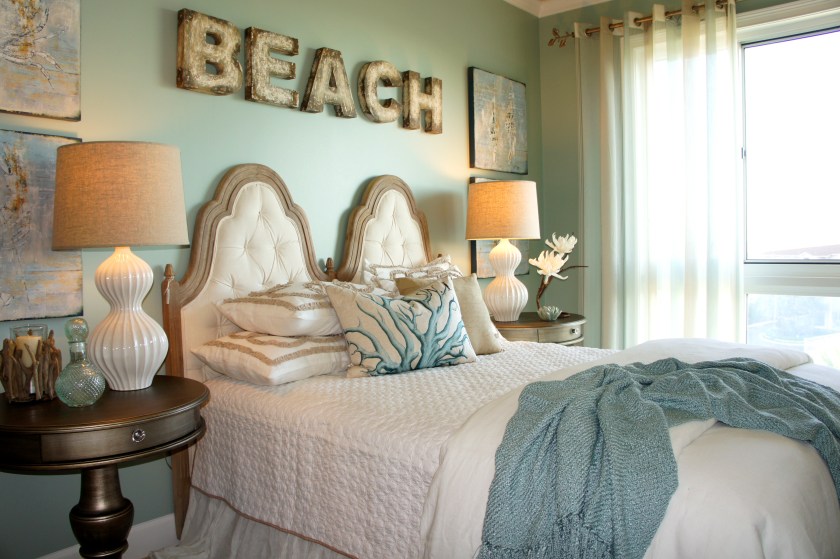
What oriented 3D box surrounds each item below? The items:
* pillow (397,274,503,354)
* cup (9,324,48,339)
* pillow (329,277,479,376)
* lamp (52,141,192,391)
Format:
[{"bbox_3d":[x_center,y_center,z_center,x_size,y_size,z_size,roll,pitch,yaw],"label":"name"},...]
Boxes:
[{"bbox_3d":[0.167,0.258,3.423,0.149,0.485,0.501,-32,-20,34],"label":"pillow"},{"bbox_3d":[-1.632,0.219,2.436,0.103,0.080,0.106,0,-4,0],"label":"cup"},{"bbox_3d":[-0.100,0.250,2.901,0.542,0.524,0.160,-6,-23,-35],"label":"pillow"},{"bbox_3d":[-1.290,-0.057,2.509,0.525,1.068,0.283,-4,10,-21],"label":"lamp"}]
